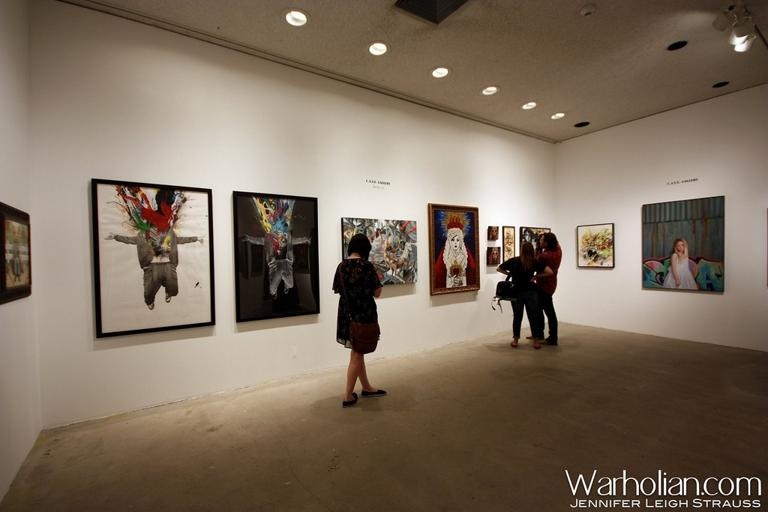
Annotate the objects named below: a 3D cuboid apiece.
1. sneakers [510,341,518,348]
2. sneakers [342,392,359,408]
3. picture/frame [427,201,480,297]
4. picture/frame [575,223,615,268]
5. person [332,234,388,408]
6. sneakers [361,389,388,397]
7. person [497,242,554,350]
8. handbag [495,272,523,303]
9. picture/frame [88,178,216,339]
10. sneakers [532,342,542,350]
[{"bbox_3d":[2.413,1.610,9.372,0.108,0.115,0.169,0,3,15],"label":"sneakers"},{"bbox_3d":[-0.488,2.050,7.222,0.107,0.123,0.290,1,3,20],"label":"sneakers"},{"bbox_3d":[1.340,-0.162,9.718,1.245,1.649,0.290,-3,3,-40],"label":"picture/frame"},{"bbox_3d":[4.564,-0.216,10.877,0.040,1.250,0.867,4,-3,-36],"label":"picture/frame"},{"bbox_3d":[-0.371,0.903,7.209,0.663,2.421,0.467,-1,2,-1],"label":"person"},{"bbox_3d":[-0.158,2.013,7.491,0.349,0.111,0.136,-1,-3,-9],"label":"sneakers"},{"bbox_3d":[2.605,0.710,9.426,0.940,1.903,0.461,0,2,20],"label":"person"},{"bbox_3d":[2.277,0.628,9.644,0.369,0.731,0.504,8,-9,-27],"label":"handbag"},{"bbox_3d":[-3.392,0.053,7.225,2.027,3.159,0.111,-2,-1,-31],"label":"picture/frame"},{"bbox_3d":[2.822,1.635,9.315,0.085,0.116,0.270,-3,-9,10],"label":"sneakers"}]
